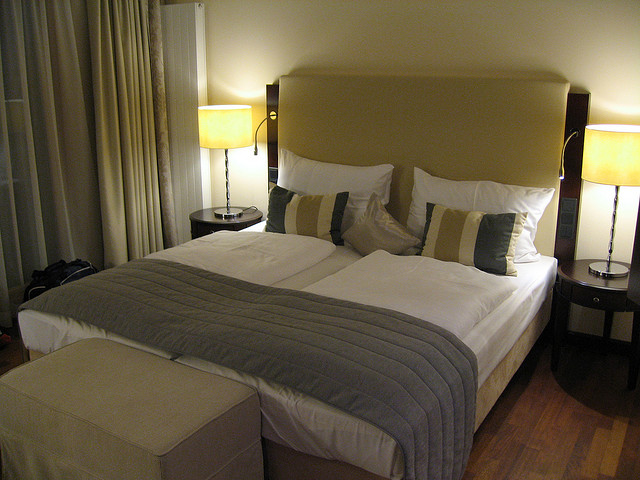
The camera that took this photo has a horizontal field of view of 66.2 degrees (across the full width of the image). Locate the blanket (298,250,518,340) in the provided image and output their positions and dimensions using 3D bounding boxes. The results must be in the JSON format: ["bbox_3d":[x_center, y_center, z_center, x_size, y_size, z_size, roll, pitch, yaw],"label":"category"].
[{"bbox_3d":[0.573,0.259,2.751,0.644,0.114,0.617,14,25,37],"label":"blanket"}]

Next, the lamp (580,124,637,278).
[{"bbox_3d":[1.731,-0.241,3.122,0.306,0.994,0.330,4,16,6],"label":"lamp"}]

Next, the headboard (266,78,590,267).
[{"bbox_3d":[0.686,-0.560,3.760,2.366,1.362,0.116,6,8,15],"label":"headboard"}]

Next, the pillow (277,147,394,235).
[{"bbox_3d":[0.146,-0.355,3.712,0.646,0.422,0.207,14,-7,38],"label":"pillow"}]

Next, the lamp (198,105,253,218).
[{"bbox_3d":[-0.812,-0.684,4.440,0.418,1.047,0.447,-13,22,-39],"label":"lamp"}]

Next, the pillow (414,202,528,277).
[{"bbox_3d":[0.978,-0.027,3.298,0.723,0.425,0.268,12,19,33],"label":"pillow"}]

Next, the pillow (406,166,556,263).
[{"bbox_3d":[1.094,-0.243,3.422,1.100,0.581,0.527,7,17,12],"label":"pillow"}]

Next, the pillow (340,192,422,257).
[{"bbox_3d":[0.390,-0.093,3.303,0.420,0.407,0.128,49,10,19],"label":"pillow"}]

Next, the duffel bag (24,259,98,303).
[{"bbox_3d":[-1.964,0.282,3.795,0.335,0.252,0.557,3,26,36],"label":"duffel bag"}]
